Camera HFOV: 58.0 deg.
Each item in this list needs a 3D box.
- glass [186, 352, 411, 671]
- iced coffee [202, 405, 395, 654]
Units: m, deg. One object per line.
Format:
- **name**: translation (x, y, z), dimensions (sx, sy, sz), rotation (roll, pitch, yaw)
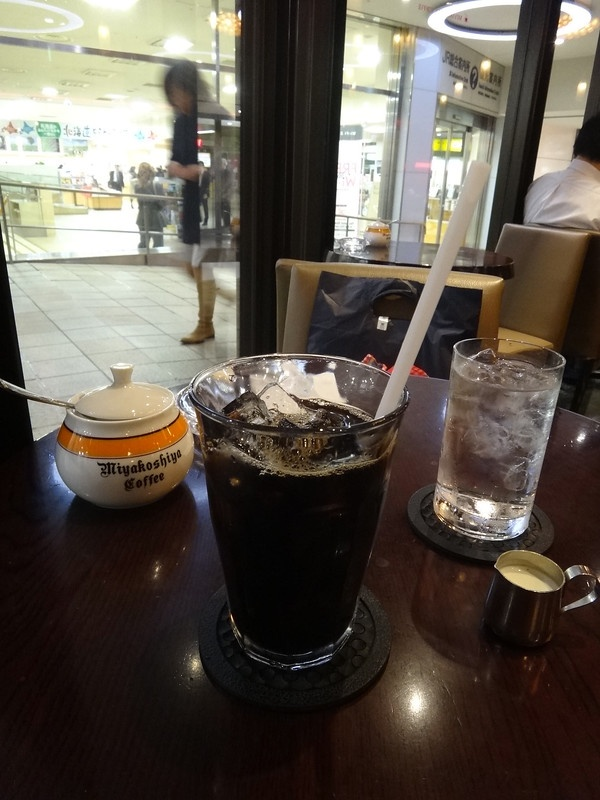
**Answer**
- **glass**: translation (-0.004, 0.082, 0.383), dimensions (0.128, 0.161, 0.131), rotation (5, 5, 25)
- **iced coffee**: translation (0.011, 0.068, 0.428), dimensions (0.154, 0.196, 0.151), rotation (-4, 23, -11)
